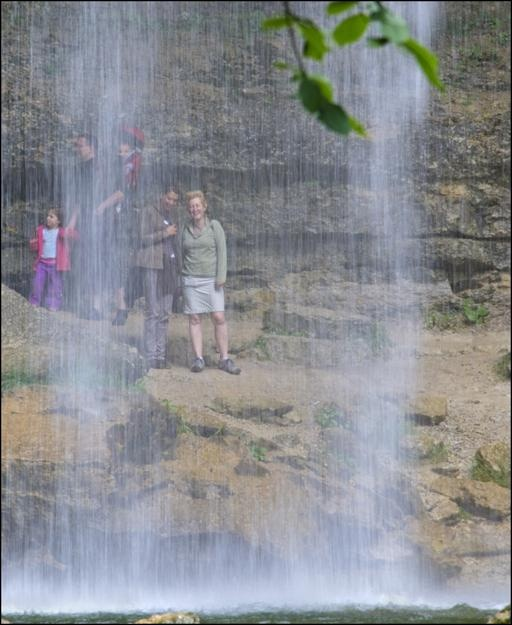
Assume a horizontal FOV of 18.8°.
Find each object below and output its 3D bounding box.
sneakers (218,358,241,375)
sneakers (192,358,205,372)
[{"bbox_3d":[-0.321,0.622,17.985,0.261,0.132,0.135,16,111,32],"label":"sneakers"},{"bbox_3d":[-0.665,0.595,17.939,0.133,0.335,0.165,1,87,1],"label":"sneakers"}]
